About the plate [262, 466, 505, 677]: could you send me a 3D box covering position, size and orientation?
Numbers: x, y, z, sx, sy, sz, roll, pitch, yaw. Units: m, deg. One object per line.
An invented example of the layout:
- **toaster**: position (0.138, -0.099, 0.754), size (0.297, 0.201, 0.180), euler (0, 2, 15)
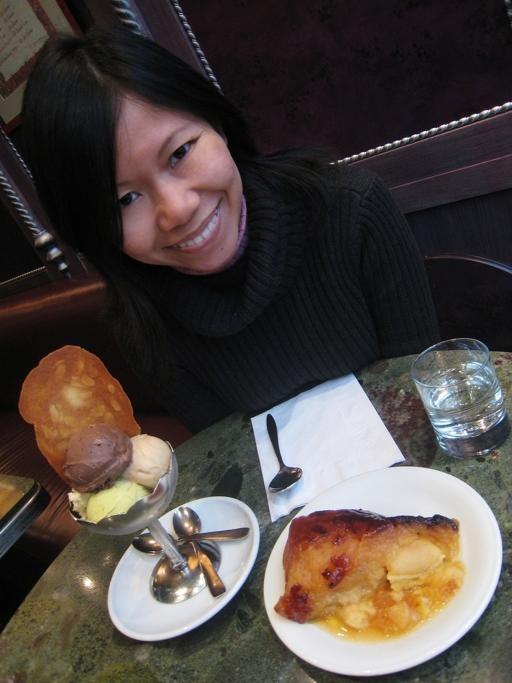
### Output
- **plate**: position (0.133, 0.241, 0.585), size (0.270, 0.040, 0.241), euler (-19, 31, 10)

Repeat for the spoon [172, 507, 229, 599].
- **spoon**: position (-0.072, 0.281, 0.727), size (0.034, 0.024, 0.172), euler (-35, 19, -2)

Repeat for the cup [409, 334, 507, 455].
- **cup**: position (0.269, 0.077, 0.697), size (0.095, 0.137, 0.088), euler (-24, 34, 17)
